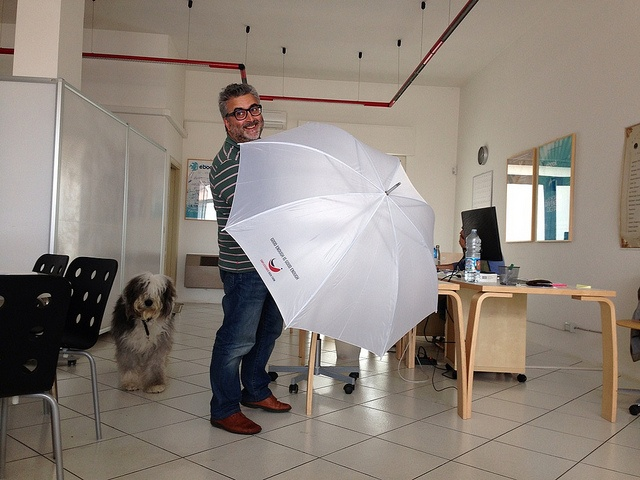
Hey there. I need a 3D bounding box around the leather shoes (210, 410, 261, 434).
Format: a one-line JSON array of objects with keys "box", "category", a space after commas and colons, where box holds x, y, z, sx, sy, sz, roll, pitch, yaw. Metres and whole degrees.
[{"box": [-0.523, 1.128, 2.991, 0.287, 0.137, 0.128, 3, -3, 18], "category": "leather shoes"}]

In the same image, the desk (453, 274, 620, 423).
[{"box": [1.466, 0.800, 3.744, 1.238, 0.930, 1.391, 3, 0, 11], "category": "desk"}]

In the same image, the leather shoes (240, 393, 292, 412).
[{"box": [-0.379, 1.119, 3.324, 0.361, 0.171, 0.130, 3, -1, -8], "category": "leather shoes"}]

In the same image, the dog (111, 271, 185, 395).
[{"box": [-1.409, 0.729, 3.766, 0.413, 0.915, 1.037, 3, -3, -24], "category": "dog"}]

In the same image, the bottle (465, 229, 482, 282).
[{"box": [1.203, 0.120, 3.714, 0.104, 0.400, 0.312, 2, 2, 18], "category": "bottle"}]

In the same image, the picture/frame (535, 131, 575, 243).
[{"box": [2.806, -0.613, 5.755, 0.889, 1.317, 0.029, -5, 6, -33], "category": "picture/frame"}]

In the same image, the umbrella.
[{"box": [0.086, -0.037, 2.455, 1.116, 1.170, 0.439, 2, 2, -13], "category": "umbrella"}]
